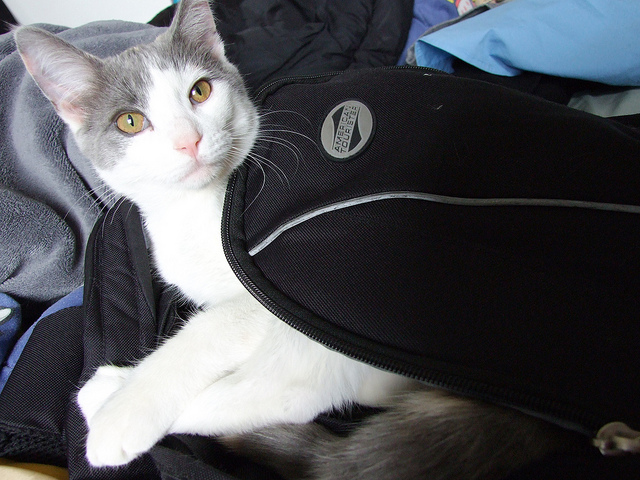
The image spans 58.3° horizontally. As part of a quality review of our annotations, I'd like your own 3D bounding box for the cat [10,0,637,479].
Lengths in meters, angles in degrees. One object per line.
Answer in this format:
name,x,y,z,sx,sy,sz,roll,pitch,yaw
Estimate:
cat,-0.130,-0.015,1.309,1.274,0.728,0.702,13,16,16
